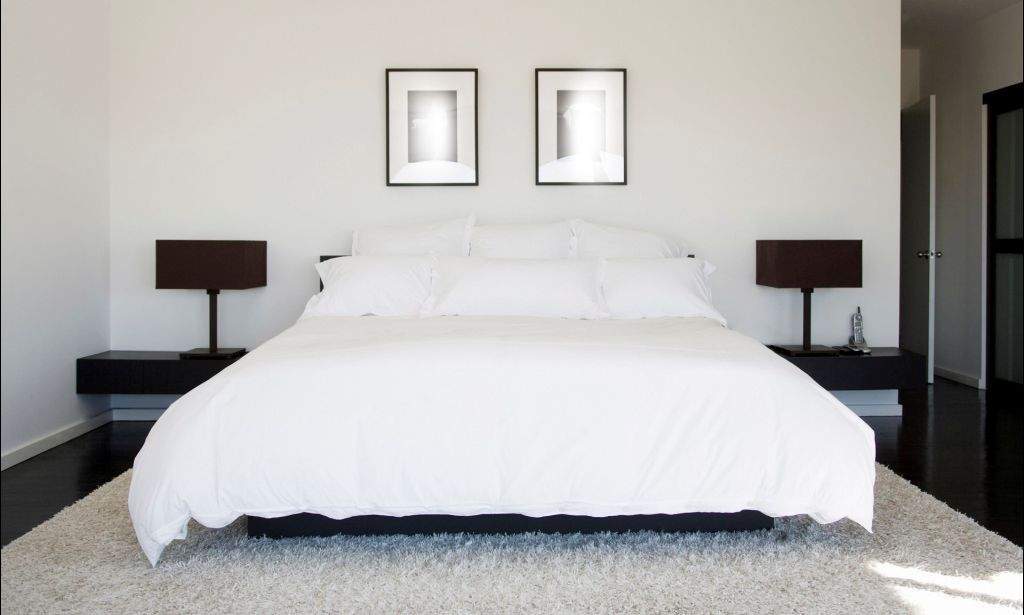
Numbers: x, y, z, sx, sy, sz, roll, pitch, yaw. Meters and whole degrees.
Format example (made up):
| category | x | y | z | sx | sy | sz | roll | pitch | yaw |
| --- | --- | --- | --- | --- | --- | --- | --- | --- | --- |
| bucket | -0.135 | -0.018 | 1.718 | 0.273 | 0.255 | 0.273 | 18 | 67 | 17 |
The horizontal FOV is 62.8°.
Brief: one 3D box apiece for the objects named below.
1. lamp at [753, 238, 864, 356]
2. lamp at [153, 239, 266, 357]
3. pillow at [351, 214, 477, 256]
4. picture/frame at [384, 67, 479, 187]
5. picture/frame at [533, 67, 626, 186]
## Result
| category | x | y | z | sx | sy | sz | roll | pitch | yaw |
| --- | --- | --- | --- | --- | --- | --- | --- | --- | --- |
| lamp | 2.336 | -0.081 | 6.982 | 0.942 | 1.262 | 0.849 | 0 | 2 | 4 |
| lamp | -2.401 | -0.080 | 6.779 | 0.918 | 0.932 | 0.910 | 1 | 2 | 28 |
| pillow | -0.749 | -0.532 | 6.580 | 0.539 | 0.163 | 0.501 | -2 | 20 | 4 |
| picture/frame | -0.650 | -1.463 | 6.824 | 0.716 | 0.921 | 0.198 | 1 | 8 | 8 |
| picture/frame | 0.551 | -1.508 | 6.838 | 0.947 | 1.048 | 0.044 | -1 | 6 | 0 |
